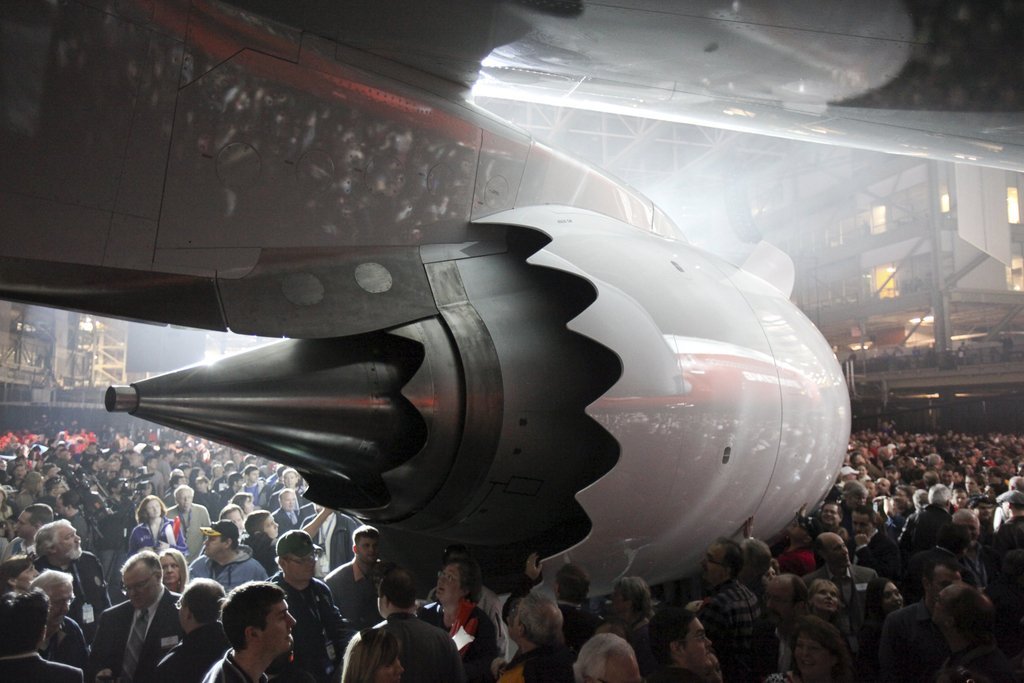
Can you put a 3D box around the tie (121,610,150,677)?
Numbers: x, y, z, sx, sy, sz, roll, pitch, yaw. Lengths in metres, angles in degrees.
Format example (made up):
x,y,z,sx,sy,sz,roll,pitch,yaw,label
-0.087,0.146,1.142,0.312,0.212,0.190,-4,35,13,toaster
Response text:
x,y,z,sx,sy,sz,roll,pitch,yaw,label
-2.696,2.151,5.576,0.110,0.459,0.129,0,-19,19,tie

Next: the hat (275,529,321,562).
x,y,z,sx,sy,sz,roll,pitch,yaw,label
-1.527,1.431,5.560,0.268,0.127,0.183,-1,-3,-7,hat

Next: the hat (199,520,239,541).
x,y,z,sx,sy,sz,roll,pitch,yaw,label
-2.348,1.493,6.250,0.260,0.120,0.171,14,-11,-13,hat
